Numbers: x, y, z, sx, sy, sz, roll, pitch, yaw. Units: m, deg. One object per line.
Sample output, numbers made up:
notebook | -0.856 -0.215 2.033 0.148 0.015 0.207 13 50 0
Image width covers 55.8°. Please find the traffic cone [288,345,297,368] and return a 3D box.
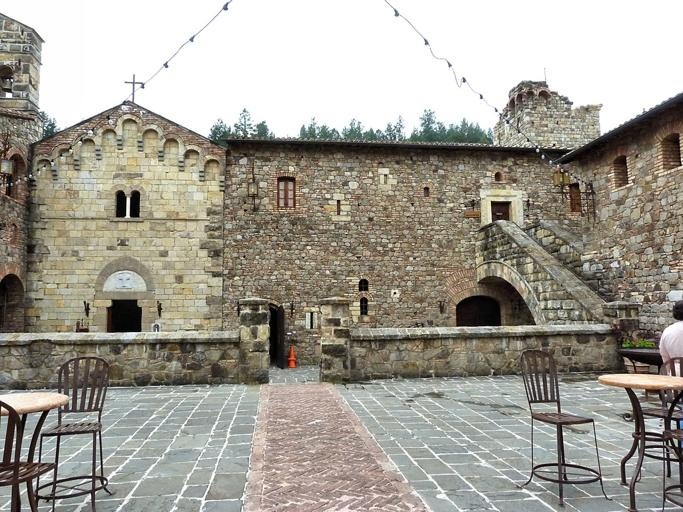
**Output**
traffic cone | -1.543 3.239 20.662 0.281 0.636 0.879 -1 8 -4
